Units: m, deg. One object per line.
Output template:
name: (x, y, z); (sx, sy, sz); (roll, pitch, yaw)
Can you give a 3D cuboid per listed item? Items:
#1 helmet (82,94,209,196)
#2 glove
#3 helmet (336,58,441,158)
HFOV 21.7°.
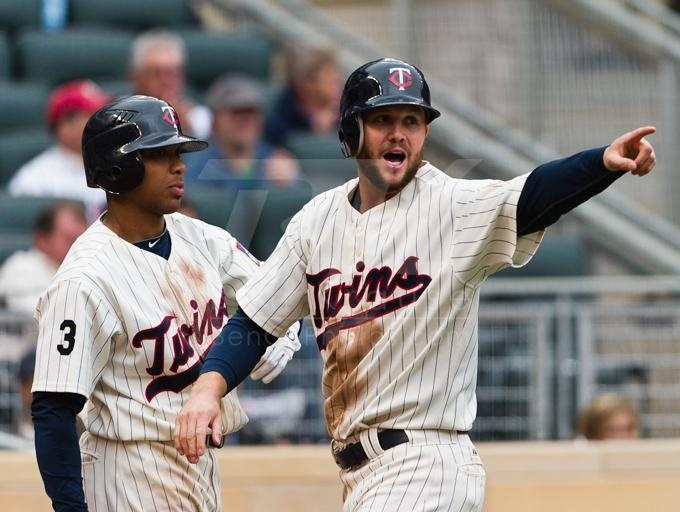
helmet: (-0.832, -0.484, 7.524); (0.521, 0.393, 0.417); (-2, 6, -3)
glove: (-0.258, 0.423, 7.694); (0.104, 0.265, 0.210); (32, -5, 14)
helmet: (0.224, -0.597, 7.234); (0.381, 0.358, 0.462); (2, -6, 5)
